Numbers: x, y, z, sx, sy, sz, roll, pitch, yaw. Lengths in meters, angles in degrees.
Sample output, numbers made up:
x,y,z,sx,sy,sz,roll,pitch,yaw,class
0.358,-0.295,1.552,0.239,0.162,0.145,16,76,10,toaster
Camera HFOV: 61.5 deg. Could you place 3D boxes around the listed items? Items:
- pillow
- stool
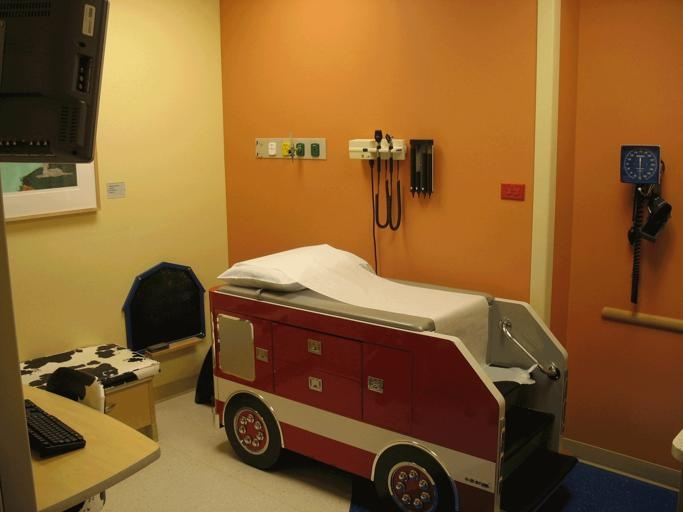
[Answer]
x,y,z,sx,sy,sz,roll,pitch,yaw,class
-0.277,0.092,3.425,0.878,0.180,0.445,-6,16,-15,pillow
-1.592,0.803,3.692,0.709,0.527,0.737,10,14,35,stool
